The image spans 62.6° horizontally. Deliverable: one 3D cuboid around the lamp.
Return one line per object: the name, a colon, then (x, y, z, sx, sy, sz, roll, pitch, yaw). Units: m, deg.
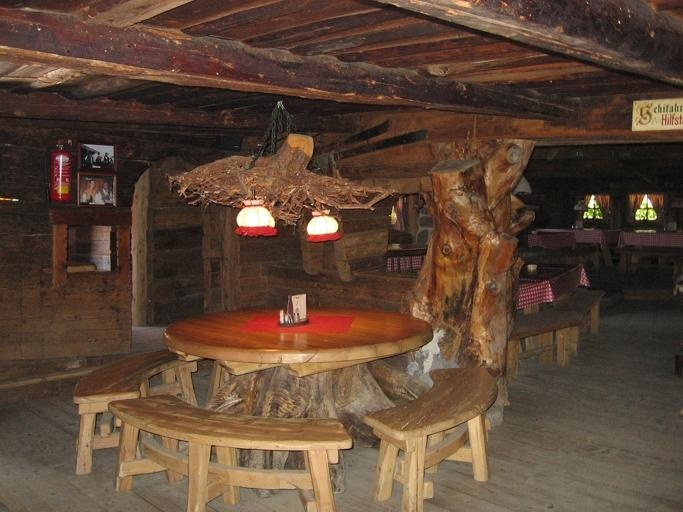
lamp: (-0.538, -0.550, 4.558, 2.109, 0.912, 1.647, 0, 11, -4)

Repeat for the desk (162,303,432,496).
desk: (-0.251, 1.192, 4.997, 2.510, 0.783, 2.226, -3, -9, -30)

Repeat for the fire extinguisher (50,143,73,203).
fire extinguisher: (-3.175, -0.931, 6.366, 0.266, 0.670, 0.278, -4, 12, -20)

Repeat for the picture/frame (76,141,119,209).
picture/frame: (-2.865, -0.946, 6.584, 0.489, 0.724, 0.151, -5, 12, -25)

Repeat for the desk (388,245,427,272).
desk: (0.990, 0.084, 8.599, 0.569, 0.299, 1.187, 1, 7, 7)
